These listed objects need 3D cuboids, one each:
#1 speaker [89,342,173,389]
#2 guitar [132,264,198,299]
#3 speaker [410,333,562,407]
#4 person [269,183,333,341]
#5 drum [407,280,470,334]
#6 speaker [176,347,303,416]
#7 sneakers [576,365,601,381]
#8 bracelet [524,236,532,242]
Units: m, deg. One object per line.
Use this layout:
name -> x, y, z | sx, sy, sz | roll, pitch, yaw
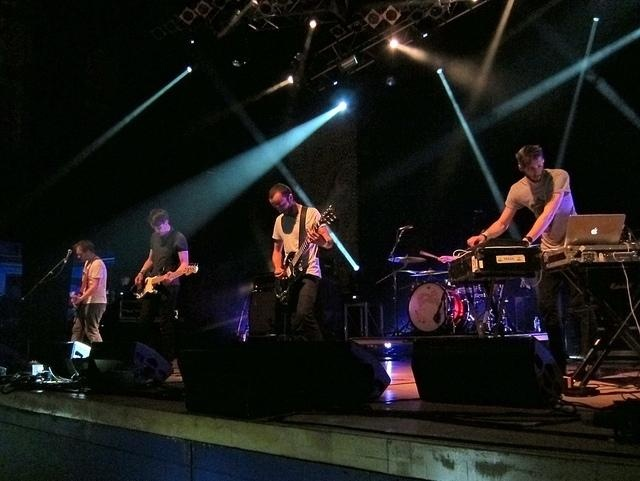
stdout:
speaker -> -1.762, 1.167, 5.620 | 0.468, 0.306, 0.485 | -11, -14, 39
guitar -> -1.814, 0.451, 7.068 | 0.691, 0.447, 0.490 | 2, -20, -8
speaker -> 1.197, 1.011, 4.597 | 0.980, 0.542, 0.369 | -4, -20, 7
person -> -0.200, 0.236, 6.192 | 0.754, 1.571, 0.651 | -8, -21, 19
drum -> 1.742, 1.048, 9.250 | 0.740, 0.763, 0.536 | -6, -20, 33
speaker -> -0.590, 1.040, 4.415 | 0.575, 0.384, 0.592 | 4, -10, -23
sneakers -> 2.218, 1.144, 5.071 | 0.172, 0.109, 0.355 | -9, -22, 20
bracelet -> 1.801, -0.012, 5.253 | 0.064, 0.051, 0.065 | 2, 1, -4
